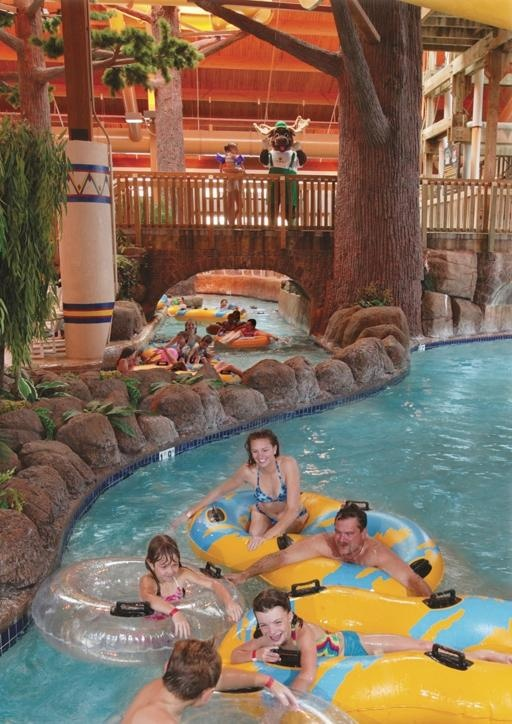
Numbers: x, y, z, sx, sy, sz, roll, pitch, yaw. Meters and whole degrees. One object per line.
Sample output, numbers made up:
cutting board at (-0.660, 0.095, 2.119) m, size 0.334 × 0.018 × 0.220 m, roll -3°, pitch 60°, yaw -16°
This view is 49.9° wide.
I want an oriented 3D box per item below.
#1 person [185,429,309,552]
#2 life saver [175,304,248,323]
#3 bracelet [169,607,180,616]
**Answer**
person at (-0.031, 0.739, 3.359) m, size 0.705 × 0.649 × 0.667 m, roll 6°, pitch 14°, yaw 9°
life saver at (-1.255, -1.272, 14.751) m, size 1.370 × 0.403 × 2.037 m, roll 0°, pitch 2°, yaw 5°
bracelet at (-0.338, 1.030, 2.261) m, size 0.030 × 0.030 × 0.023 m, roll -16°, pitch 42°, yaw -31°
